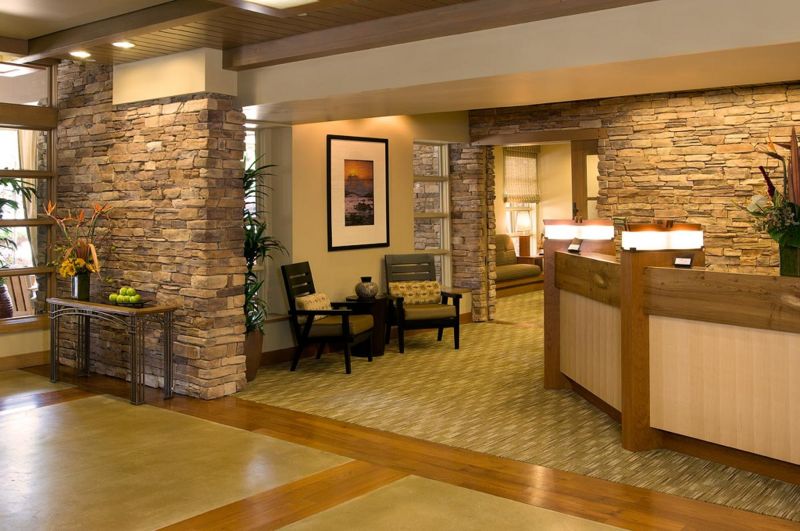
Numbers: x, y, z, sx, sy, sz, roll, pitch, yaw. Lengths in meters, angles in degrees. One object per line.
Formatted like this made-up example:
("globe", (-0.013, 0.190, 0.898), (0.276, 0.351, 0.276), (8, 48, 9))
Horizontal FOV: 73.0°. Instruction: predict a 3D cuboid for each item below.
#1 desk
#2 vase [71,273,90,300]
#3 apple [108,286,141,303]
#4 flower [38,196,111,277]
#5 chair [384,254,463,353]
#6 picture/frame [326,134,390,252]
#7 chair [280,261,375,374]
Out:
("desk", (-3.250, 0.982, 6.205), (1.492, 0.661, 0.491), (3, 6, 33))
("vase", (-3.725, 0.241, 6.329), (0.171, 0.331, 0.150), (-6, 9, -29))
("apple", (-3.035, 0.340, 5.974), (0.252, 0.116, 0.348), (4, -4, -38))
("flower", (-3.990, -0.315, 6.750), (0.675, 0.975, 1.283), (-6, 9, -31))
("chair", (0.325, 0.518, 8.070), (1.069, 1.322, 1.091), (-2, 7, -4))
("picture/frame", (-0.606, -1.063, 7.988), (0.274, 1.654, 1.208), (5, 9, 36))
("chair", (-0.934, 0.646, 6.949), (1.068, 1.321, 0.826), (0, 8, 5))
